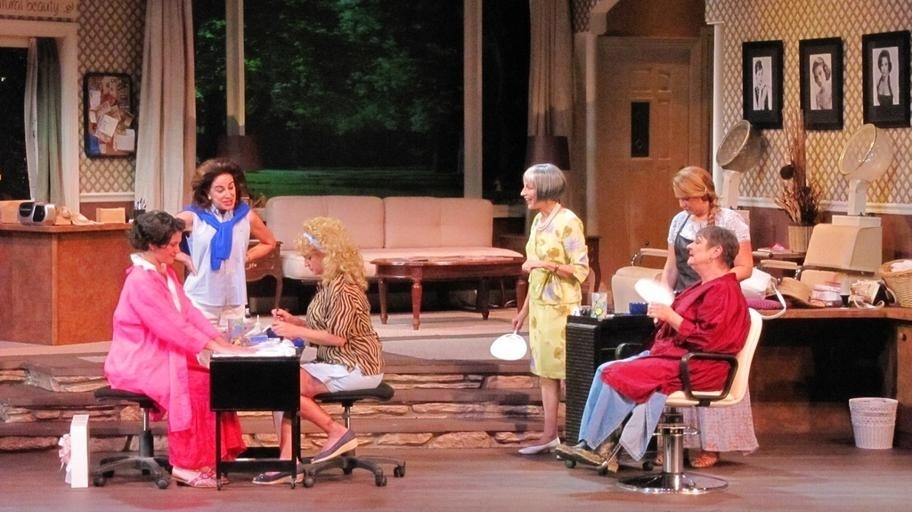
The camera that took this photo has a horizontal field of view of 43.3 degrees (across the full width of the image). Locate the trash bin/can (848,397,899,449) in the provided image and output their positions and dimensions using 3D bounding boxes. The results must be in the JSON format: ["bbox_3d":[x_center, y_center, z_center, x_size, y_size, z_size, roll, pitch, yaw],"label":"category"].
[{"bbox_3d":[3.953,1.590,10.786,0.493,0.432,0.473,3,-6,-18],"label":"trash bin/can"}]

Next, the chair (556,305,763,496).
[{"bbox_3d":[1.936,1.263,9.896,1.250,1.381,1.099,4,-15,-22],"label":"chair"}]

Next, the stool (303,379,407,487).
[{"bbox_3d":[-0.950,1.561,10.012,0.970,0.723,0.899,-1,-1,-36],"label":"stool"}]

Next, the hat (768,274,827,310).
[{"bbox_3d":[3.185,0.348,10.775,0.387,0.127,0.319,24,0,-27],"label":"hat"}]

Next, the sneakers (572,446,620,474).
[{"bbox_3d":[1.209,1.751,9.897,0.456,0.181,0.174,11,-5,-10],"label":"sneakers"}]

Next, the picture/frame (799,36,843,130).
[{"bbox_3d":[4.096,-1.926,12.905,0.059,1.020,0.519,-3,3,-38],"label":"picture/frame"}]

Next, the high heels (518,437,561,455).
[{"bbox_3d":[0.746,1.725,10.415,0.452,0.151,0.139,-1,0,4],"label":"high heels"}]

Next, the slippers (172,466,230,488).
[{"bbox_3d":[-2.177,1.866,9.706,0.414,0.144,0.179,1,-1,-4],"label":"slippers"}]

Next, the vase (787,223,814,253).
[{"bbox_3d":[3.851,-0.206,12.988,0.333,0.285,0.304,0,-1,2],"label":"vase"}]

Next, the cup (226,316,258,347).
[{"bbox_3d":[-1.858,0.663,10.097,0.273,0.264,0.271,2,0,0],"label":"cup"}]

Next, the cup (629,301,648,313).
[{"bbox_3d":[1.604,0.459,10.244,0.124,0.062,0.111,0,6,0],"label":"cup"}]

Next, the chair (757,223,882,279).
[{"bbox_3d":[4.042,-0.067,12.685,1.281,0.599,1.232,6,2,27],"label":"chair"}]

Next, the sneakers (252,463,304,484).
[{"bbox_3d":[-1.546,1.860,9.775,0.498,0.149,0.166,0,-6,-4],"label":"sneakers"}]
